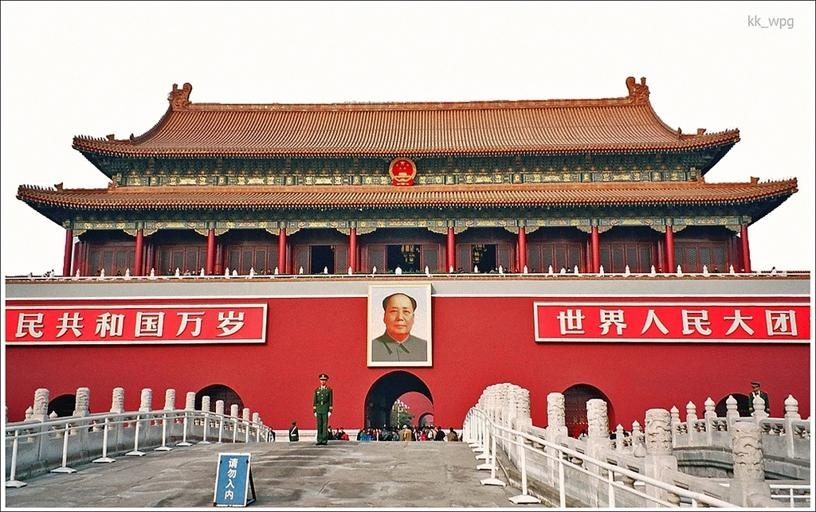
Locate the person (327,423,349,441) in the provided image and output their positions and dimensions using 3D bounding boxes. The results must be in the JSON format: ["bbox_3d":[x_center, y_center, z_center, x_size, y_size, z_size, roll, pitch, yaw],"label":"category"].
[{"bbox_3d":[-2.273,5.851,26.255,0.729,0.248,0.710,-4,-33,3],"label":"person"}]
